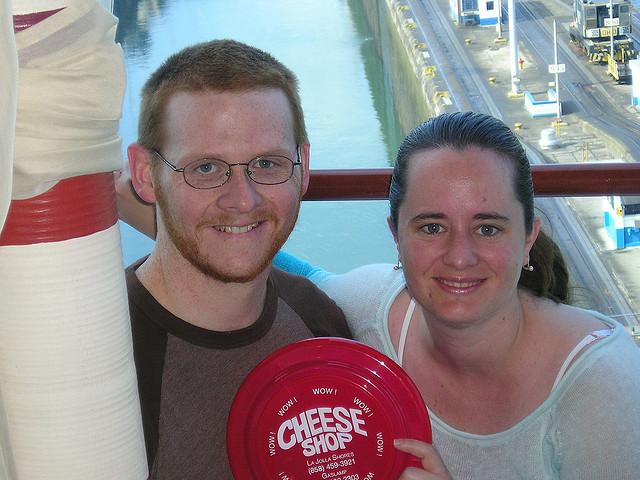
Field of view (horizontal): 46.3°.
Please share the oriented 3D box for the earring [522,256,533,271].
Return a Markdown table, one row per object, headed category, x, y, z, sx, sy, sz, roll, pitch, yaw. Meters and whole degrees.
| category | x | y | z | sx | sy | sz | roll | pitch | yaw |
| --- | --- | --- | --- | --- | --- | --- | --- | --- | --- |
| earring | 0.739 | 0.080 | 2.666 | 0.041 | 0.048 | 0.018 | -9 | -7 | -18 |
